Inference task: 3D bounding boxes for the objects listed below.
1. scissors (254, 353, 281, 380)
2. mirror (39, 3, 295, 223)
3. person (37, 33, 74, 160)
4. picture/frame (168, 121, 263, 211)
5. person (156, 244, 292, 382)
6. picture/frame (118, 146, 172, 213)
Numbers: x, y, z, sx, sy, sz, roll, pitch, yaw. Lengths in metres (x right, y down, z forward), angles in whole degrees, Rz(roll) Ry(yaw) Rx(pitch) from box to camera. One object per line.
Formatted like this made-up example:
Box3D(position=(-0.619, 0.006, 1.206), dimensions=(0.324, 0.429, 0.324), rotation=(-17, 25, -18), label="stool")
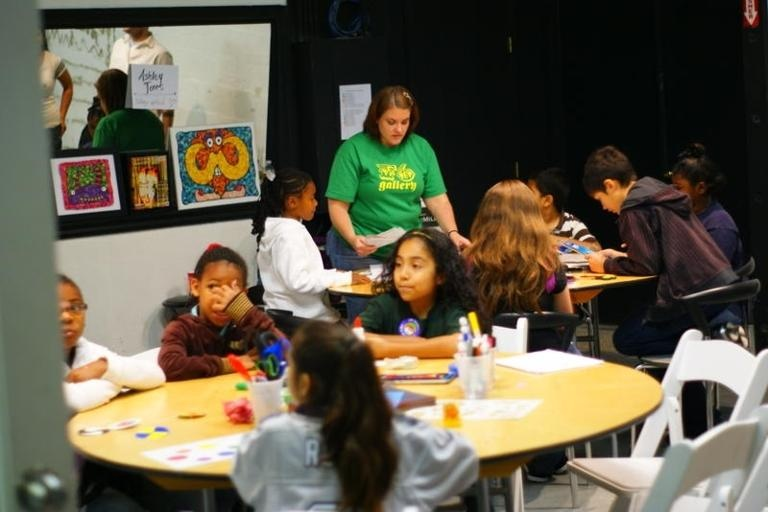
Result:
Box3D(position=(-0.305, 0.293, 1.825), dimensions=(0.068, 0.073, 0.026), rotation=(9, 21, 42), label="scissors")
Box3D(position=(-1.525, -0.986, 4.675), dimensions=(1.776, 1.383, 0.086), rotation=(-8, 8, -39), label="mirror")
Box3D(position=(-2.147, -1.061, 4.414), dimensions=(0.177, 0.767, 0.270), rotation=(-2, 8, 3), label="person")
Box3D(position=(-1.290, -0.676, 5.105), dimensions=(0.660, 0.622, 0.072), rotation=(-11, 5, -34), label="picture/frame")
Box3D(position=(-0.663, 0.207, 2.749), dimensions=(0.537, 0.727, 0.482), rotation=(-3, 6, -33), label="person")
Box3D(position=(-1.707, -0.546, 4.842), dimensions=(0.421, 0.492, 0.036), rotation=(-9, 9, -41), label="picture/frame")
